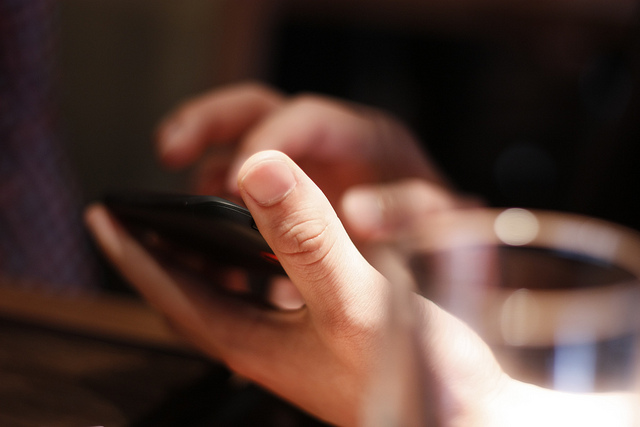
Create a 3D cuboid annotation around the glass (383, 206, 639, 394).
[{"bbox_3d":[0.321,0.109,1.018,0.285,0.222,0.283,-2,2,-28],"label":"glass"}]
